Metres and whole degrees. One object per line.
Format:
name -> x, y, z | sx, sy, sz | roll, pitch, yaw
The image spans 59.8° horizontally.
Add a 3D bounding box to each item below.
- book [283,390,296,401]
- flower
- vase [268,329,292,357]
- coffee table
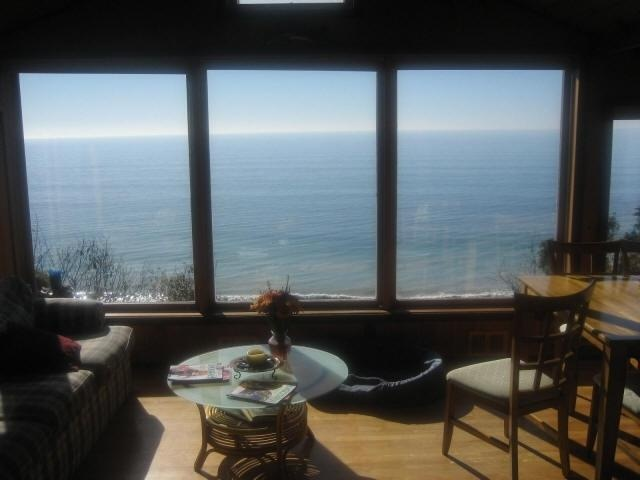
book -> -0.195, 1.032, 3.676 | 0.026, 0.020, 0.117 | 8, 19, 10
flower -> -0.250, 0.604, 4.245 | 0.432, 0.734, 0.455 | 1, 0, 17
vase -> -0.291, 0.747, 4.129 | 0.189, 0.287, 0.173 | -1, 0, -6
coffee table -> -0.513, 1.118, 4.047 | 0.949, 0.509, 0.967 | -5, 10, -26
